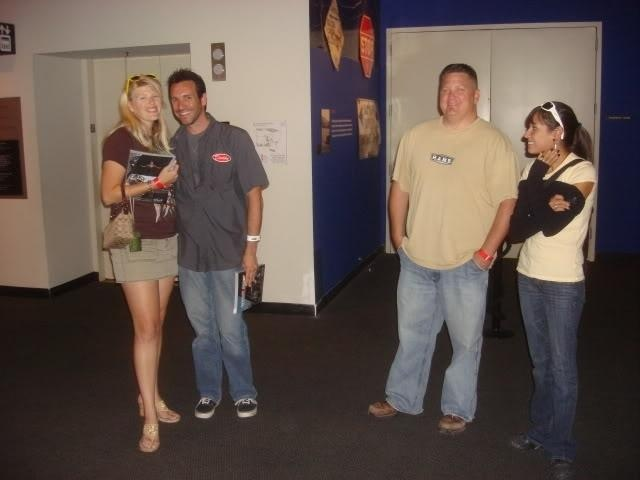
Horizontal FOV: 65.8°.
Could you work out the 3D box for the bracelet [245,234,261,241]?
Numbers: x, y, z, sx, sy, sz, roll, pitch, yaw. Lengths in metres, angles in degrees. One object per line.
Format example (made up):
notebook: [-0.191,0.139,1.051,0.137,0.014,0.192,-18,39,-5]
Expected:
bracelet: [-0.405,-0.016,3.011,0.083,0.047,0.065,-5,13,-18]

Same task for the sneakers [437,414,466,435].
sneakers: [0.792,1.116,2.992,0.160,0.077,0.088,-4,35,-11]

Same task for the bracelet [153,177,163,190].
bracelet: [-0.909,-0.317,2.781,0.036,0.042,0.061,-38,59,-16]

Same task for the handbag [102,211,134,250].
handbag: [-1.137,-0.059,2.785,0.181,0.211,0.089,-2,10,-7]

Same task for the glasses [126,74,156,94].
glasses: [-1.025,-0.911,2.866,0.183,0.115,0.219,-1,12,1]

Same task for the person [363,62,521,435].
person: [0.768,0.065,2.987,0.742,2.178,0.375,2,10,15]

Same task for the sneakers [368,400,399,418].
sneakers: [0.402,1.087,3.213,0.160,0.074,0.091,-2,32,-5]

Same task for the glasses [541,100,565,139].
glasses: [1.208,-0.621,2.606,0.048,0.163,0.159,-26,44,-3]

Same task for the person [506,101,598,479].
person: [1.257,0.246,2.715,0.426,1.951,0.450,-11,14,-43]

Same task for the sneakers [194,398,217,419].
sneakers: [-0.749,1.089,3.204,0.070,0.076,0.183,4,2,-1]

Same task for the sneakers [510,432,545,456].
sneakers: [1.188,1.154,2.835,0.080,0.061,0.144,-19,28,-37]

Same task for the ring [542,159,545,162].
ring: [1.190,-0.430,2.650,0.013,0.014,0.003,3,7,9]

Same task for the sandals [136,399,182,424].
sandals: [-1.039,1.094,3.209,0.263,0.119,0.139,4,20,3]

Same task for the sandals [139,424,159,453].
sandals: [-0.998,1.162,2.896,0.073,0.070,0.189,1,8,-11]

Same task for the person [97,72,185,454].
person: [-1.019,0.124,2.919,0.454,2.138,0.399,-9,13,-40]

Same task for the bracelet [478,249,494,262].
bracelet: [0.924,0.087,2.776,0.048,0.070,0.068,-45,39,-13]
